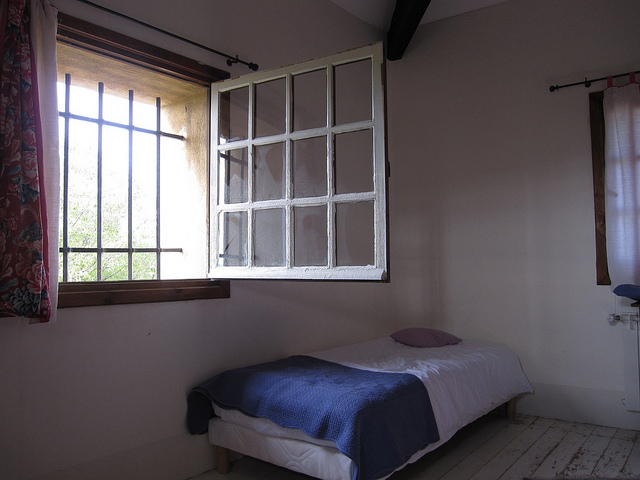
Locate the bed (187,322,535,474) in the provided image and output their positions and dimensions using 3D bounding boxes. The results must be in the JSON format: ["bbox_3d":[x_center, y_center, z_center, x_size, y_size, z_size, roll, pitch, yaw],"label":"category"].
[{"bbox_3d":[0.341,1.262,3.634,2.350,0.829,1.348,-2,9,-38],"label":"bed"}]

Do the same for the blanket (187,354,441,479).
[{"bbox_3d":[-0.026,1.031,3.077,0.826,0.302,0.844,-7,-6,36],"label":"blanket"}]
